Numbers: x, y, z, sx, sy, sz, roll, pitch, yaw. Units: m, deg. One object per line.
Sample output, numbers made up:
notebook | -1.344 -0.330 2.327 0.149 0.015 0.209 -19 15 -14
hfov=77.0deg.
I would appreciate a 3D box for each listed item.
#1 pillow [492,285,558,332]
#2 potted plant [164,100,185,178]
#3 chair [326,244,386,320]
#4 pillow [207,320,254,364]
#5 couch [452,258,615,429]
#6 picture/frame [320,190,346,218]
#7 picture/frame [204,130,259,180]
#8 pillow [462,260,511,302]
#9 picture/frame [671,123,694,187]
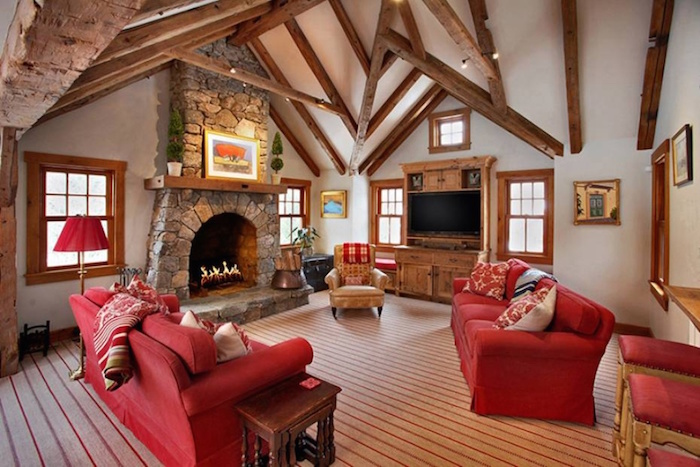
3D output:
pillow | 1.921 0.799 4.742 0.165 0.525 0.552 29 -2 8
potted plant | -2.680 -1.430 6.761 0.262 1.102 0.410 -2 3 -22
chair | 0.085 0.750 7.386 0.996 1.168 0.826 -1 2 -3
pillow | -1.120 1.046 4.220 0.314 0.384 0.532 17 -3 -9
couch | 2.059 0.696 5.186 1.306 1.395 2.700 1 0 15
picture/frame | -0.326 -0.622 9.170 0.601 0.516 0.046 1 0 38
picture/frame | -1.996 -1.298 7.249 0.038 0.706 0.993 -2 -1 40
pillow | 1.960 0.630 6.177 0.159 0.531 0.529 30 -15 -35
picture/frame | 3.725 -0.876 4.914 0.060 0.810 0.754 0 4 25
